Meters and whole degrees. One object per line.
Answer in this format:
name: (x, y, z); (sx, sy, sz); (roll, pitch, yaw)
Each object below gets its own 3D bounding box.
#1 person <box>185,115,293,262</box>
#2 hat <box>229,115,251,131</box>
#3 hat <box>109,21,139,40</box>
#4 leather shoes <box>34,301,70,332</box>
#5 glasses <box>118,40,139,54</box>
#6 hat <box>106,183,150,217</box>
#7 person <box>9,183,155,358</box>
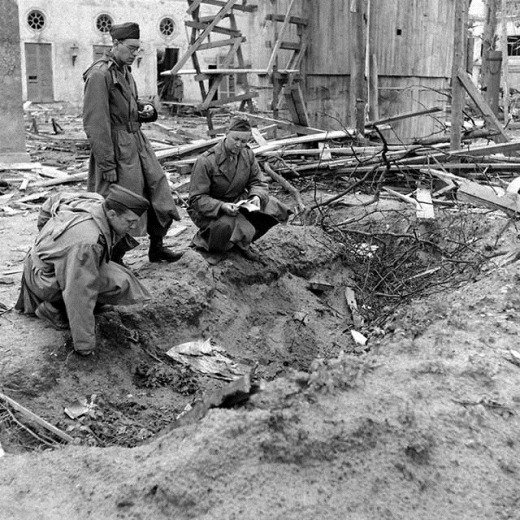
person: (-0.182, -0.664, 5.544); (0.856, 1.302, 0.992); (0, 22, -6)
hat: (-0.186, -1.217, 5.350); (0.186, 0.144, 0.224); (-1, 11, -3)
hat: (-1.073, -1.819, 4.745); (0.136, 0.122, 0.188); (-6, 29, -18)
leather shoes: (-1.396, 0.385, 4.026); (0.230, 0.096, 0.159); (41, 3, 24)
glasses: (-1.029, -1.726, 4.855); (0.115, 0.104, 0.259); (2, 11, 11)
hat: (-0.894, -0.403, 4.055); (0.250, 0.147, 0.196); (24, 7, -42)
person: (-1.222, -0.018, 4.134); (0.715, 1.123, 0.965); (-3, 21, -45)
